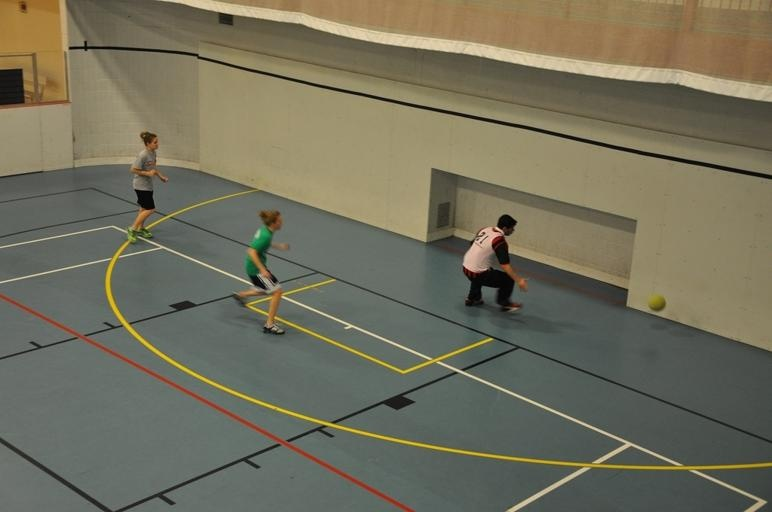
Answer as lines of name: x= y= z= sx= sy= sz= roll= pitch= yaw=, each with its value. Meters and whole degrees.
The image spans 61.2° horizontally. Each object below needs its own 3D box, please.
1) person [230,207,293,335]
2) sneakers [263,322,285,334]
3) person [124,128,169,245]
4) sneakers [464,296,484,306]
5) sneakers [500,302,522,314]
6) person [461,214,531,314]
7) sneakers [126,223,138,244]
person: x=-2.270 y=0.230 z=11.987 sx=0.888 sy=2.208 sz=1.143 roll=-1 pitch=18 yaw=-17
sneakers: x=-2.029 y=1.334 z=11.931 sx=0.431 sy=0.186 sz=0.165 roll=1 pitch=22 yaw=-12
person: x=-5.509 y=-1.642 z=14.970 sx=0.801 sy=2.441 sz=1.039 roll=-2 pitch=18 yaw=-19
sneakers: x=1.803 y=0.911 z=13.222 sx=0.398 sy=0.179 sz=0.156 roll=-14 pitch=31 yaw=-34
sneakers: x=2.499 y=1.060 z=13.117 sx=0.462 sy=0.199 sz=0.173 roll=-8 pitch=27 yaw=7
person: x=2.103 y=0.187 z=12.658 sx=1.150 sy=2.002 sz=1.003 roll=10 pitch=18 yaw=17
sneakers: x=-5.744 y=-0.483 z=14.822 sx=0.149 sy=0.168 sz=0.394 roll=-9 pitch=61 yaw=-49
